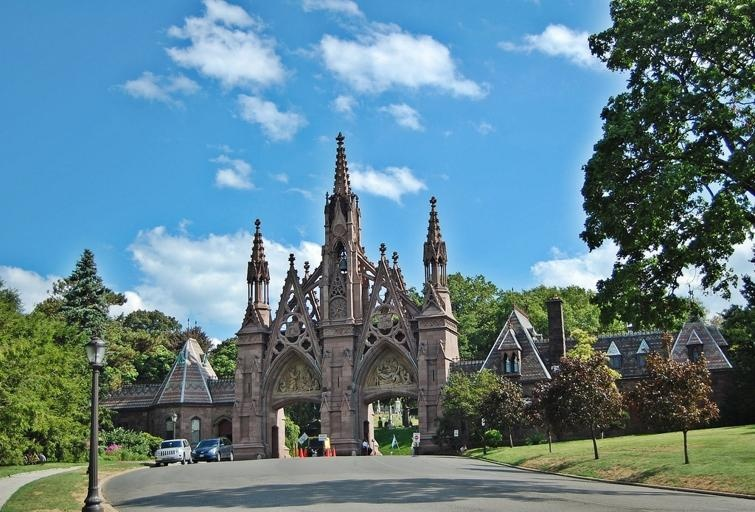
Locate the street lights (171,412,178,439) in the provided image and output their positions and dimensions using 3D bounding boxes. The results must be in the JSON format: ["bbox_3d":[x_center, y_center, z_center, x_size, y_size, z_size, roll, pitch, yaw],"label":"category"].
[{"bbox_3d":[-16.684,13.948,85.173,0.434,2.064,0.836,7,-19,-33],"label":"street lights"}]

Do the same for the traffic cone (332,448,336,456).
[{"bbox_3d":[-3.317,14.698,77.804,0.231,0.466,0.245,-2,-16,-3],"label":"traffic cone"}]

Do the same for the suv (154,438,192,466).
[{"bbox_3d":[-13.511,13.123,69.183,1.886,1.934,2.638,-16,-21,38],"label":"suv"}]

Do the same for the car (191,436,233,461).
[{"bbox_3d":[-11.263,13.302,70.958,1.578,1.977,3.363,-8,-17,16],"label":"car"}]
